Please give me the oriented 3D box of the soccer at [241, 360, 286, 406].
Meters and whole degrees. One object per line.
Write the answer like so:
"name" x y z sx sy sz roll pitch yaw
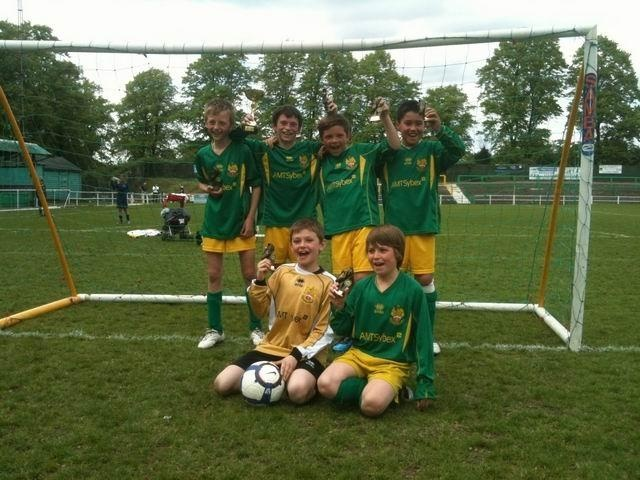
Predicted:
"soccer" -0.515 1.261 5.520 0.362 0.329 0.335 20 -23 -27

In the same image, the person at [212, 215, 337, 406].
"person" -0.373 0.624 5.800 1.082 1.496 1.023 0 5 15

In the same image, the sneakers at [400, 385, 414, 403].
"sneakers" 0.759 1.357 5.581 0.124 0.142 0.121 2 12 12

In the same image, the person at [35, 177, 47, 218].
"person" -4.327 -0.655 9.867 0.186 0.167 0.842 2 -19 -23

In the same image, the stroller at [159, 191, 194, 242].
"stroller" -3.432 -0.573 14.951 0.628 0.950 0.802 20 14 42

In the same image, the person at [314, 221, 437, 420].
"person" 0.515 0.680 5.546 0.956 1.517 0.814 1 12 8

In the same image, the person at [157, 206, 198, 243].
"person" -3.394 -0.356 15.546 0.959 1.030 1.624 -1 5 -15

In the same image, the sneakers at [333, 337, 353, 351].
"sneakers" 0.235 1.073 6.488 0.219 0.144 0.391 -4 -10 20
